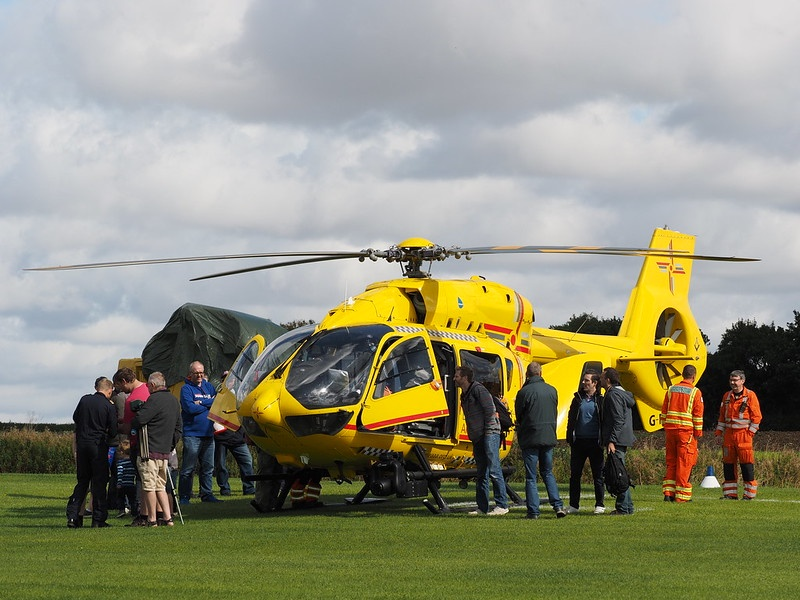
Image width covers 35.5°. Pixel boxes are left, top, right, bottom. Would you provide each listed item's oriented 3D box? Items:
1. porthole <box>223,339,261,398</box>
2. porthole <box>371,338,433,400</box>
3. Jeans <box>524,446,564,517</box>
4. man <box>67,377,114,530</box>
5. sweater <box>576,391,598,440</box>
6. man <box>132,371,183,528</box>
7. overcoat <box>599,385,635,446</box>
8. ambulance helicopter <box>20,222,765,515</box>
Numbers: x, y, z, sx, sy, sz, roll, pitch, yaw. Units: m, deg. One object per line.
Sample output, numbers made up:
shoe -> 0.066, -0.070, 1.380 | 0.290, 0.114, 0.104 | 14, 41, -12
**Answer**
porthole -> -2.653, 1.231, 21.934 | 0.663, 0.919, 0.350 | -1, -42, 48
porthole -> 0.000, 1.133, 19.924 | 1.018, 0.658, 0.075 | -12, 1, -42
Jeans -> 2.292, 2.918, 20.053 | 0.591, 1.105, 0.767 | -2, -10, 5
man -> -4.690, 2.373, 19.392 | 0.780, 2.304, 0.800 | 0, -9, 10
sweater -> 3.072, 1.917, 20.495 | 0.411, 0.730, 0.171 | -4, -11, 17
man -> -3.690, 2.262, 18.965 | 0.557, 2.343, 0.796 | -2, -11, 5
overcoat -> 3.554, 1.901, 20.164 | 0.531, 0.986, 0.323 | 6, -12, -31
ambulance helicopter -> 1.014, 1.248, 22.338 | 7.920, 2.811, 7.591 | 6, -9, -33
